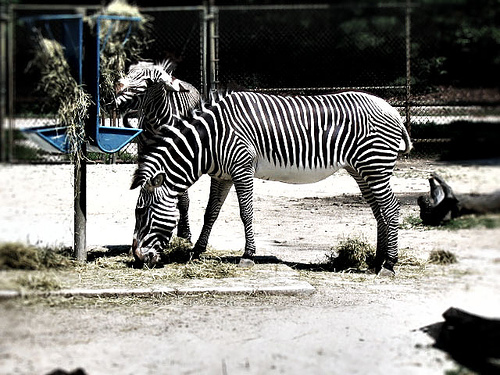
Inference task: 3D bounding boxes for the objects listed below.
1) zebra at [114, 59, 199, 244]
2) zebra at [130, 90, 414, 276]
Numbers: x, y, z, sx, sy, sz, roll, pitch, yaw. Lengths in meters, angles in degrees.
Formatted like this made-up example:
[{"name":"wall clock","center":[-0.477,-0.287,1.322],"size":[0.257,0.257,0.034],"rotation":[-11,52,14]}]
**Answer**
[{"name":"zebra","center":[-1.167,-0.507,9.453],"size":[0.661,2.108,2.652],"rotation":[6,-3,13]},{"name":"zebra","center":[0.233,-0.051,8.784],"size":[3.298,2.238,0.971],"rotation":[-1,8,-3]}]
